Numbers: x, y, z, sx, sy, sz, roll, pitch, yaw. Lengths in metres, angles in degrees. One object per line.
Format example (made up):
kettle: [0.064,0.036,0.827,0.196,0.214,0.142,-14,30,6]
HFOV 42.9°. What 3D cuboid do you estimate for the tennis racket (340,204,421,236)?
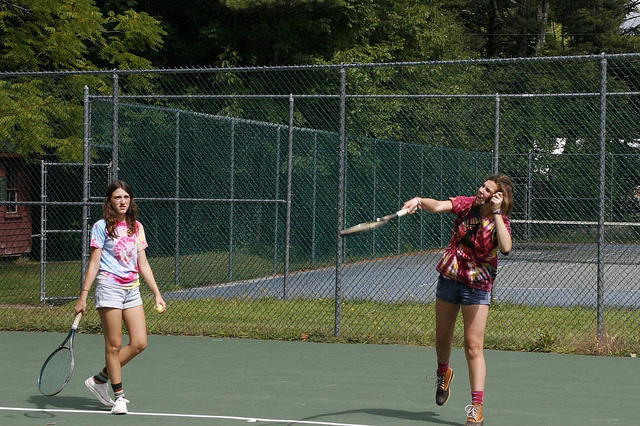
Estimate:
tennis racket: [1.455,0.156,20.870,1.888,0.221,0.354,-21,30,-28]
